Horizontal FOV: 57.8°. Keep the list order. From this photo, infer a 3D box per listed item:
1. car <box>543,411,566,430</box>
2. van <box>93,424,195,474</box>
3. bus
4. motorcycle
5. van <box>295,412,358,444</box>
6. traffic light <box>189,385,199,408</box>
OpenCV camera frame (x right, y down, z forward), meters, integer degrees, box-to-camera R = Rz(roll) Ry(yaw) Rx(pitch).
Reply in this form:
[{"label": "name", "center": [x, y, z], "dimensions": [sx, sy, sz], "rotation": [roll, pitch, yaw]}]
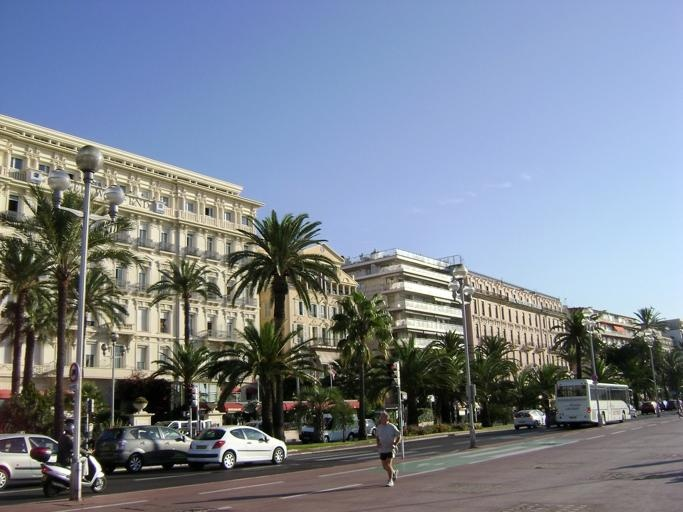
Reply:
[{"label": "car", "center": [18.627, 14.293, 53.798], "dimensions": [1.228, 1.928, 3.857], "rotation": [0, -9, 3]}, {"label": "van", "center": [-8.676, 8.438, 27.385], "dimensions": [3.686, 1.446, 2.118], "rotation": [7, -12, -44]}, {"label": "bus", "center": [22.007, 13.166, 54.609], "dimensions": [4.249, 3.870, 15.704], "rotation": [-16, -22, 33]}, {"label": "motorcycle", "center": [-9.187, 7.012, 20.020], "dimensions": [2.784, 1.911, 1.156], "rotation": [8, -12, -39]}, {"label": "van", "center": [-0.688, 12.603, 44.672], "dimensions": [2.145, 2.058, 3.777], "rotation": [-17, -28, 41]}, {"label": "traffic light", "center": [-8.131, 7.641, 34.104], "dimensions": [0.378, 1.131, 1.647], "rotation": [2, -20, -17]}]
